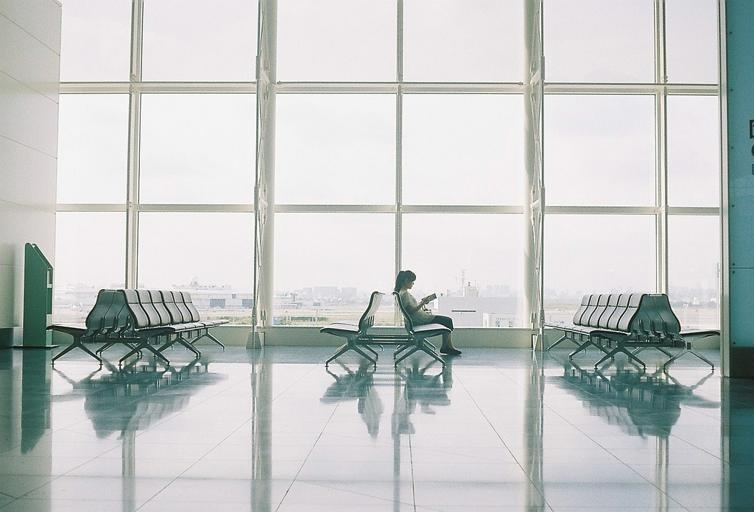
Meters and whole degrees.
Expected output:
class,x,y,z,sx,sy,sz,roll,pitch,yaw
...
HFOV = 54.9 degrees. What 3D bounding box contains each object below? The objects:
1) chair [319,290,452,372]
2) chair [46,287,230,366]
class,x,y,z,sx,sy,sz,roll,pitch,yaw
chair,0.087,1.008,9.811,1.514,0.732,1.084,0,-6,4
chair,-3.209,0.905,10.039,1.274,1.083,2.156,5,12,22
